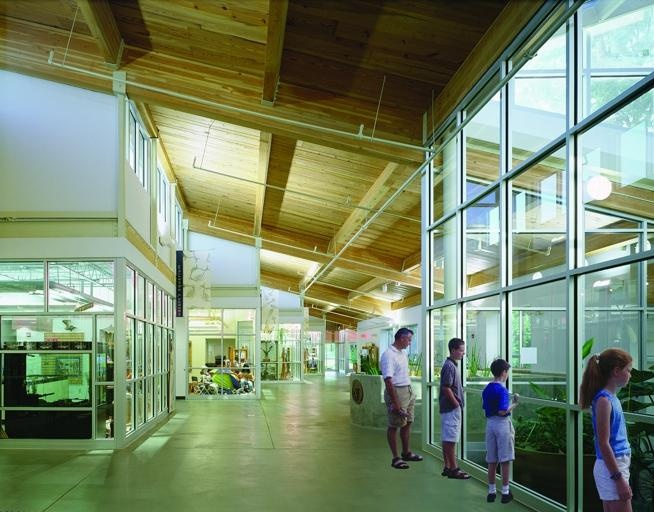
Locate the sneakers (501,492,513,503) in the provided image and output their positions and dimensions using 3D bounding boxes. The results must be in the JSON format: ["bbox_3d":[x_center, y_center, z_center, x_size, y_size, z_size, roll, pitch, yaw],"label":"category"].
[{"bbox_3d":[2.069,2.759,6.728,0.081,0.104,0.157,-6,-9,25],"label":"sneakers"}]

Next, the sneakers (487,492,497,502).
[{"bbox_3d":[1.888,2.780,6.770,0.058,0.115,0.168,3,-6,10],"label":"sneakers"}]

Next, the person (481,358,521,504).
[{"bbox_3d":[1.976,1.983,6.650,0.360,1.571,0.556,-2,-13,15],"label":"person"}]

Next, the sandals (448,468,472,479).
[{"bbox_3d":[1.766,2.909,7.878,0.254,0.110,0.129,-1,-7,5],"label":"sandals"}]

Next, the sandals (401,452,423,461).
[{"bbox_3d":[1.286,3.026,8.869,0.306,0.125,0.144,-2,-8,7],"label":"sandals"}]

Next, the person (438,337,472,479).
[{"bbox_3d":[1.651,2.017,7.719,0.337,1.782,0.650,-2,-12,11],"label":"person"}]

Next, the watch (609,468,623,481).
[{"bbox_3d":[2.199,1.657,4.453,0.063,0.040,0.083,-5,-6,2],"label":"watch"}]

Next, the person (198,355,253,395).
[{"bbox_3d":[-3.587,4.276,20.521,1.908,1.064,0.715,5,-13,-17],"label":"person"}]

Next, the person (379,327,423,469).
[{"bbox_3d":[1.036,2.058,8.504,0.438,1.960,0.995,-1,-12,8],"label":"person"}]
